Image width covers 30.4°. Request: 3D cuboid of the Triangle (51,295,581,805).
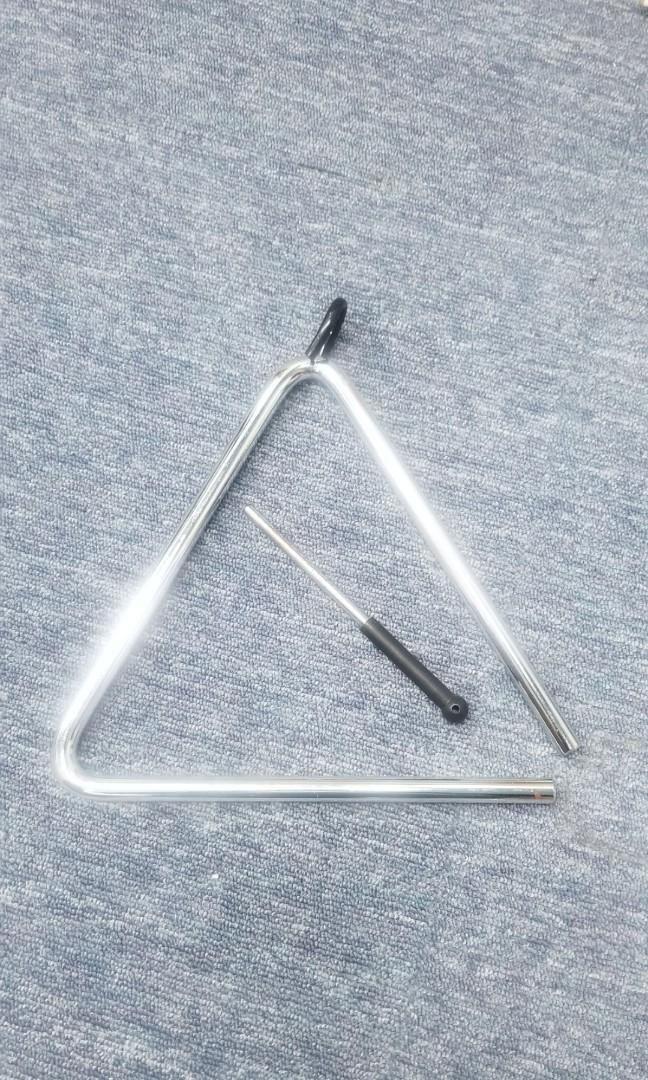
[{"bbox_3d":[0.009,0.024,1.028,0.469,0.059,0.424,4,77,4],"label":"Triangle"}]
